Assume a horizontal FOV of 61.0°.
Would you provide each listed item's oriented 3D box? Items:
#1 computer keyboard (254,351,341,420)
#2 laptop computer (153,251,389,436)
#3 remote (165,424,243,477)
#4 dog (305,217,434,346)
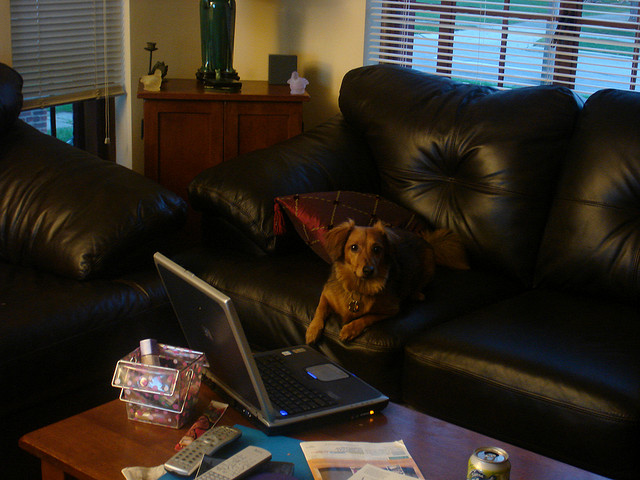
[{"bbox_3d":[-0.065,0.355,1.295,0.118,0.019,0.200,-6,21,-24],"label":"computer keyboard"},{"bbox_3d":[-0.117,0.224,1.313,0.373,0.334,0.421,-10,20,-33],"label":"laptop computer"},{"bbox_3d":[-0.239,0.419,1.094,0.051,0.025,0.163,14,19,31],"label":"remote"},{"bbox_3d":[0.230,0.099,2.059,0.364,0.389,0.856,9,16,30],"label":"dog"}]
